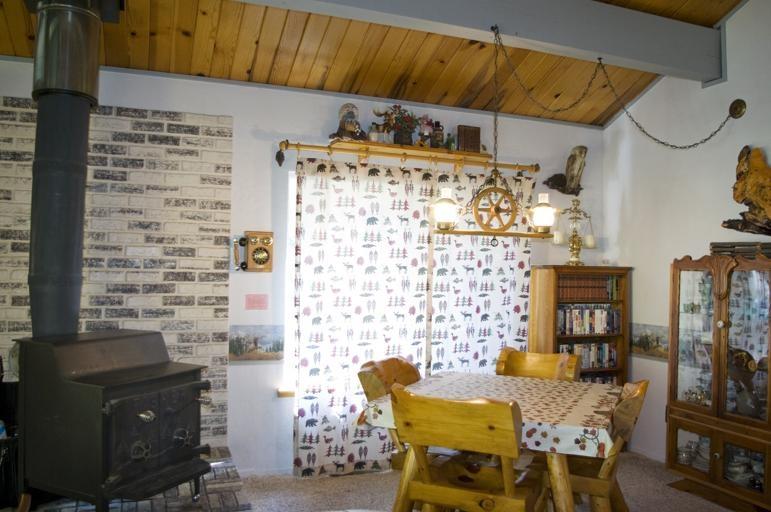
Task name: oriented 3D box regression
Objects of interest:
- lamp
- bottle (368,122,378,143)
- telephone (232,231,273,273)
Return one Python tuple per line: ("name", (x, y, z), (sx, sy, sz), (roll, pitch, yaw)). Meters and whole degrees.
("lamp", (0.881, -0.425, 4.510), (0.987, 0.554, 0.269), (3, -5, 2))
("bottle", (-0.121, -1.265, 5.682), (0.085, 0.201, 0.203), (1, 0, -2))
("telephone", (-1.287, -0.048, 5.485), (0.198, 0.382, 0.391), (2, 1, 32))
